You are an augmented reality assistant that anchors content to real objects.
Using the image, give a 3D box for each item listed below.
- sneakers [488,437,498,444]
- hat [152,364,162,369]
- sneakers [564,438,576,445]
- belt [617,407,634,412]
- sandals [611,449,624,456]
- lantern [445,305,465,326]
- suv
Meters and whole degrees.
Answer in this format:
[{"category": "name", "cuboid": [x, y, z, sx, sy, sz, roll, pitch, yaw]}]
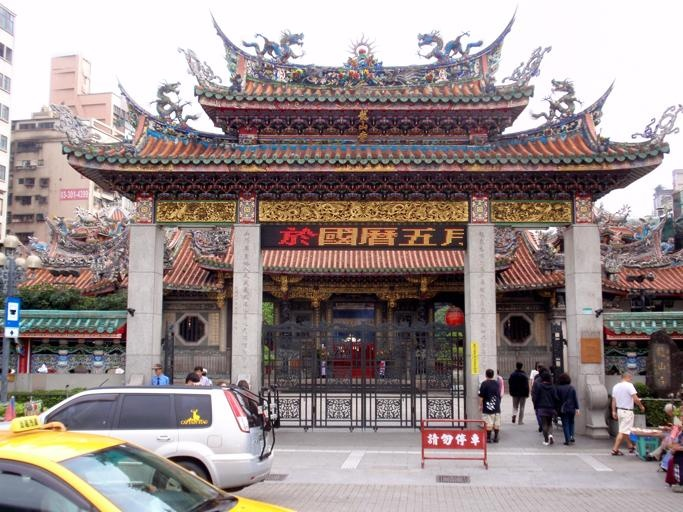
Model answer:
[{"category": "sneakers", "cuboid": [4.253, 5.136, 20.729, 0.216, 0.070, 0.226, 1, 0, -1]}, {"category": "hat", "cuboid": [-5.129, 3.060, 20.651, 0.236, 0.095, 0.303, -1, -10, -4]}, {"category": "sneakers", "cuboid": [6.308, 5.101, 20.435, 0.324, 0.281, 0.161, 6, -11, 3]}, {"category": "belt", "cuboid": [7.522, 4.033, 19.479, 0.386, 0.125, 0.161, -3, 5, -6]}, {"category": "sandals", "cuboid": [7.171, 5.046, 19.119, 0.357, 0.136, 0.130, 0, -3, -10]}, {"category": "lantern", "cuboid": [4.479, 2.361, 29.220, 0.602, 0.729, 1.296, -3, 5, 3]}, {"category": "suv", "cuboid": [-3.921, 3.713, 15.050, 4.889, 1.619, 2.125, 3, -9, 0]}]
